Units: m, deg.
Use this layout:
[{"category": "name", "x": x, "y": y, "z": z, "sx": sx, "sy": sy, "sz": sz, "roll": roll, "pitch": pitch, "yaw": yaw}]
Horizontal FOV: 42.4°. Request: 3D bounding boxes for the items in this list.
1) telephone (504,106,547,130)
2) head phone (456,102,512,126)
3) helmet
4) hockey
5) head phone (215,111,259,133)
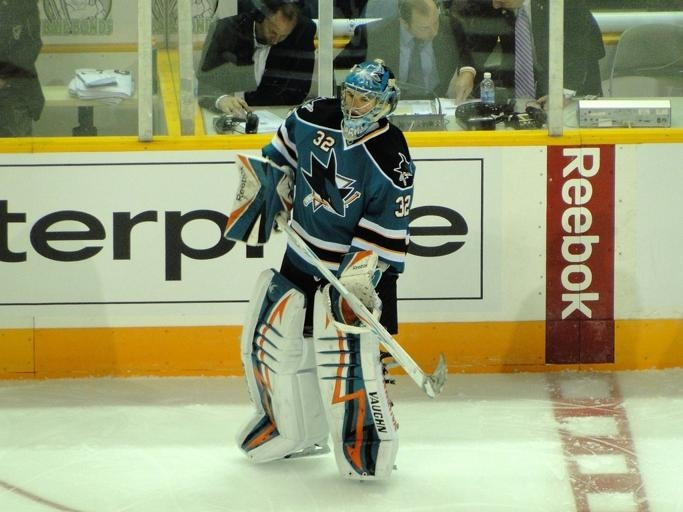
[{"category": "telephone", "x": 1.125, "y": -0.832, "z": 5.334, "sx": 0.195, "sy": 0.117, "sz": 0.133, "roll": -1, "pitch": 30, "yaw": 0}, {"category": "head phone", "x": 0.852, "y": -0.887, "z": 5.334, "sx": 0.213, "sy": 0.086, "sz": 0.165, "roll": -6, "pitch": 14, "yaw": -14}, {"category": "helmet", "x": 0.158, "y": -0.748, "z": 4.241, "sx": 0.276, "sy": 0.348, "sz": 0.339, "roll": 17, "pitch": 25, "yaw": 42}, {"category": "hockey", "x": 0.081, "y": 0.238, "z": 4.409, "sx": 0.101, "sy": 1.260, "sz": 0.244, "roll": -36, "pitch": -23, "yaw": -9}, {"category": "head phone", "x": -0.632, "y": -0.811, "z": 5.348, "sx": 0.213, "sy": 0.077, "sz": 0.132, "roll": -2, "pitch": 16, "yaw": -2}]
